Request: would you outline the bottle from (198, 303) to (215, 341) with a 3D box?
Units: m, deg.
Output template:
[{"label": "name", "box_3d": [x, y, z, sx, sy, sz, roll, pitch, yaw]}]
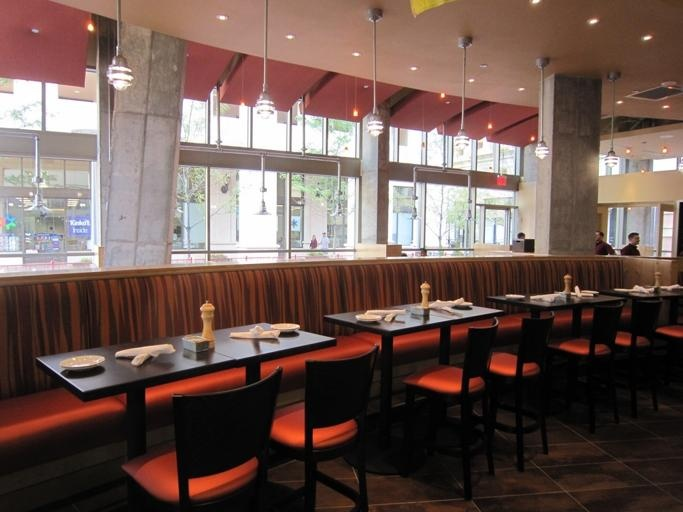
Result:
[{"label": "bottle", "box_3d": [-0.969, 0.469, 3.896, 0.090, 0.280, 0.358, -2, 3, -14]}]

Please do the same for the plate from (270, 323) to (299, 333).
[{"label": "plate", "box_3d": [-0.445, 0.564, 4.176, 0.196, 0.054, 0.200, -2, 2, -18]}]

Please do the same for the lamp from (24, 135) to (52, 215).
[{"label": "lamp", "box_3d": [-5.327, -1.409, 9.370, 0.367, 1.435, 0.835, -3, 4, -30]}]

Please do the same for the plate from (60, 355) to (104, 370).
[{"label": "plate", "box_3d": [-1.661, 0.688, 3.475, 0.230, 0.059, 0.270, 0, 2, 25]}]
